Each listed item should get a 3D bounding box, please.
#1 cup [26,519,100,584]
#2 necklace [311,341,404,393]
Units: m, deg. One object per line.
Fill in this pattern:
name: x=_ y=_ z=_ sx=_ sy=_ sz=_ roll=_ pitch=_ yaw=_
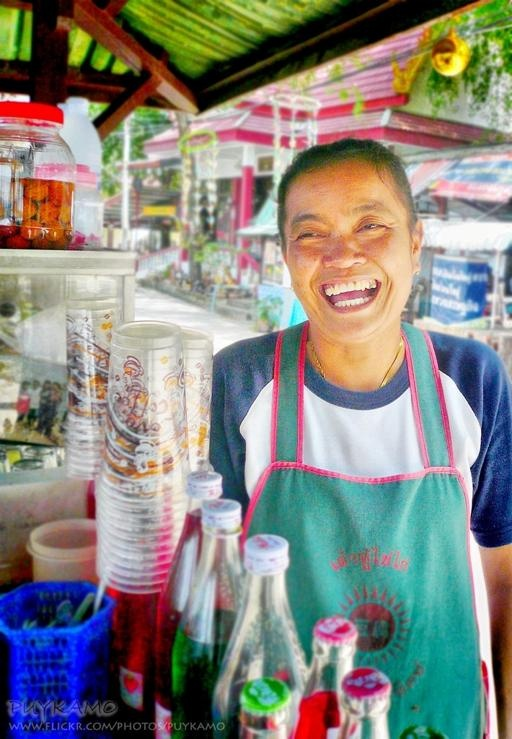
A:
cup: x=-0.322 y=0.294 z=1.074 sx=0.118 sy=0.084 sz=0.118 roll=1 pitch=2 yaw=0
necklace: x=0.212 y=0.011 z=1.360 sx=0.117 sy=0.080 sz=0.148 roll=-2 pitch=-9 yaw=6
